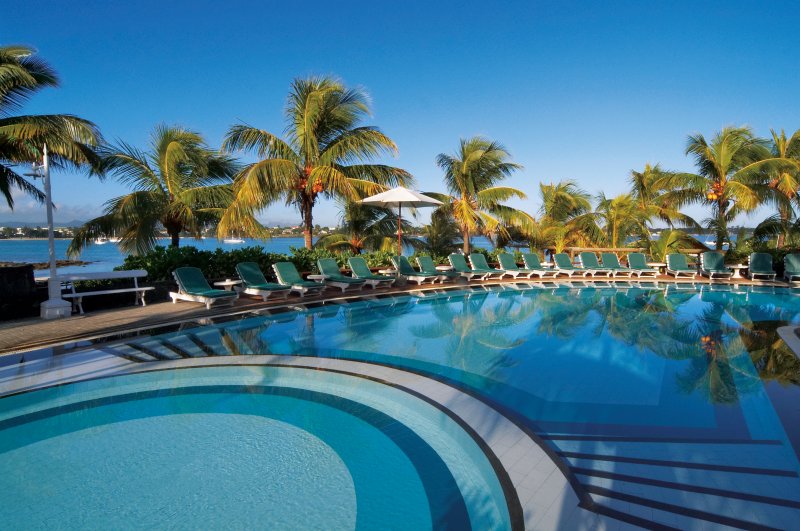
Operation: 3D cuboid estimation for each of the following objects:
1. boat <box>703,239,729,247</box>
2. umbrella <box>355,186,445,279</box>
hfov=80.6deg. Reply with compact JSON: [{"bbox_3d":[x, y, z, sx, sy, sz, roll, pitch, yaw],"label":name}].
[{"bbox_3d":[15.454,-1.051,23.279,0.304,0.305,1.430,-1,1,-41],"label":"boat"},{"bbox_3d":[-0.422,-1.039,17.545,3.369,2.951,3.497,0,4,13],"label":"umbrella"}]
